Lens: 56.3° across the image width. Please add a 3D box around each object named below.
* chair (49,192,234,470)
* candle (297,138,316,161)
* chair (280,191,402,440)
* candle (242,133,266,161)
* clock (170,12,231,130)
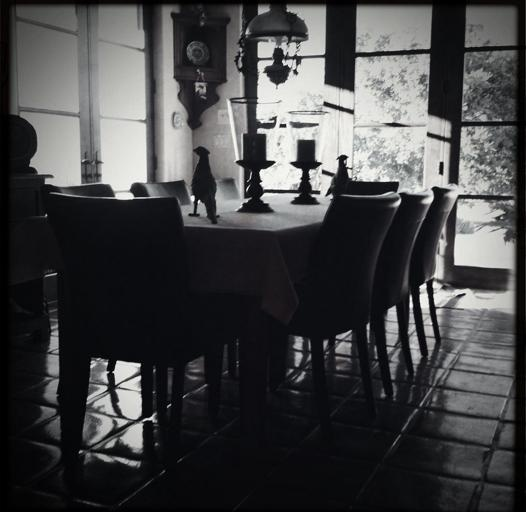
[{"bbox_3d":[-0.420,0.106,1.654,0.369,0.865,0.544,1,26,-8],"label":"chair"},{"bbox_3d":[0.215,-0.535,2.458,0.080,0.188,0.089,6,17,24],"label":"candle"},{"bbox_3d":[0.208,0.187,1.921,0.523,0.944,0.458,8,13,33],"label":"chair"},{"bbox_3d":[-0.036,-0.464,2.114,0.099,0.120,0.098,11,15,41],"label":"candle"},{"bbox_3d":[-0.646,-1.985,5.174,0.597,1.195,0.589,0,7,-1],"label":"clock"}]
